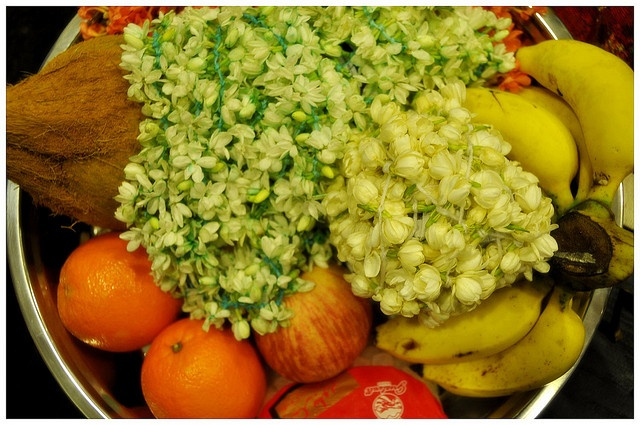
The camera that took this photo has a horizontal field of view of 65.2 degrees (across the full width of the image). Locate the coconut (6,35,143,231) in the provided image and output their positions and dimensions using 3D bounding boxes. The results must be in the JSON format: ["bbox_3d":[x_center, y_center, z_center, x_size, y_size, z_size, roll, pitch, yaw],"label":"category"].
[{"bbox_3d":[-0.548,-0.174,1.161,0.251,0.381,0.258,-15,36,-20],"label":"coconut"}]

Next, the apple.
[{"bbox_3d":[-0.003,0.272,1.177,0.202,0.152,0.272,39,72,20],"label":"apple"}]

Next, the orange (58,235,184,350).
[{"bbox_3d":[-0.489,0.200,1.198,0.264,0.170,0.246,35,71,19],"label":"orange"}]

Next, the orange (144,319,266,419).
[{"bbox_3d":[-0.234,0.363,1.218,0.242,0.241,0.229,-21,30,17],"label":"orange"}]
